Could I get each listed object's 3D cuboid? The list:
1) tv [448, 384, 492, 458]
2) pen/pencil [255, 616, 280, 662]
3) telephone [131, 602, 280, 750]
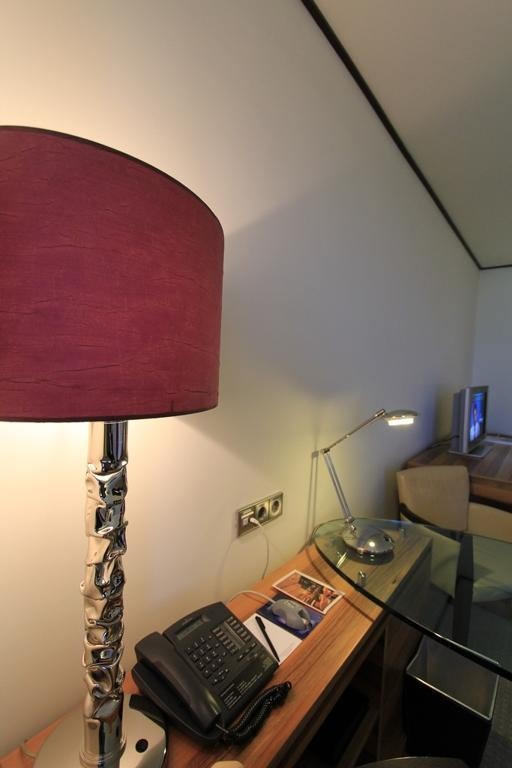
[{"bbox_3d":[1.283,0.225,3.265,0.125,0.369,0.356,2,8,29],"label":"tv"},{"bbox_3d":[0.021,0.610,1.299,0.020,0.017,0.136,29,-1,-29],"label":"pen/pencil"},{"bbox_3d":[-0.100,0.589,1.148,0.222,0.104,0.281,16,16,32],"label":"telephone"}]
